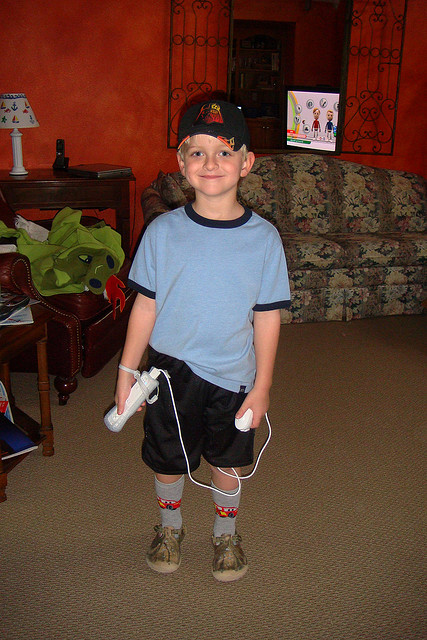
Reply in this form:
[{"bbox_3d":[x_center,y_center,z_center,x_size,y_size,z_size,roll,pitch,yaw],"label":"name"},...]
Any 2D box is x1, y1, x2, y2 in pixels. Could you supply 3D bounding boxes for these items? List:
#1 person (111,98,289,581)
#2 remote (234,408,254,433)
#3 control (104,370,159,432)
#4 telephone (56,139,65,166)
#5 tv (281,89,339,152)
[{"bbox_3d":[-0.019,0.119,1.107,0.340,1.121,0.255,8,15,21],"label":"person"},{"bbox_3d":[0.064,0.199,1.000,0.033,0.045,0.015,19,-2,-8],"label":"remote"},{"bbox_3d":[-0.174,0.176,1.047,0.107,0.135,0.141,1,20,-3],"label":"control"},{"bbox_3d":[-1.098,-1.203,3.562,0.057,0.184,0.075,-2,15,-17],"label":"telephone"},{"bbox_3d":[0.799,-1.718,4.213,0.503,0.485,0.053,6,15,-8],"label":"tv"}]
